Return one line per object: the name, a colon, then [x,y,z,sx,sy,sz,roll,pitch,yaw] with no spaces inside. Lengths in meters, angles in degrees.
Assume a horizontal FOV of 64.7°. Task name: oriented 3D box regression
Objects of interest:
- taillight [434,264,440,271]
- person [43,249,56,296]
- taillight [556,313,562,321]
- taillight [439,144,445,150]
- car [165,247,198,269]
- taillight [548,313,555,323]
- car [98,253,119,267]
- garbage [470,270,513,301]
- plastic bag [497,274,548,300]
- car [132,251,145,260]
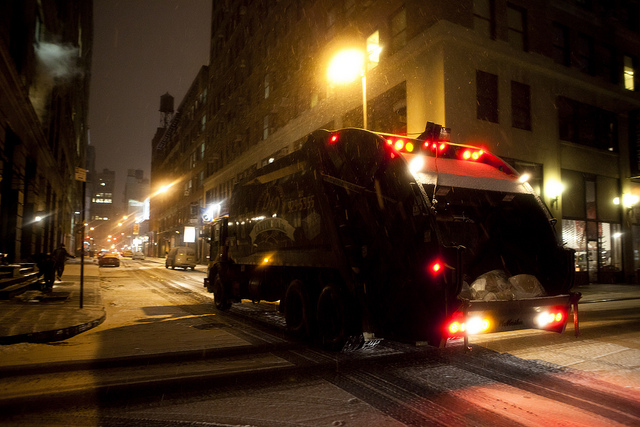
taillight: [2.546,1.182,10.977,0.111,0.142,0.019,3,8,22]
person: [-10.830,2.494,20.192,0.429,1.512,0.940,-4,8,-26]
taillight: [5.631,2.443,11.880,0.151,0.175,0.033,-2,8,-19]
taillight: [3.018,-1.650,12.494,0.191,0.108,0.049,-5,9,-36]
car: [-11.988,3.838,43.722,1.653,1.424,2.854,3,0,-32]
taillight: [5.430,2.459,11.833,0.177,0.217,0.040,-3,8,-21]
car: [-18.658,4.155,44.615,1.545,1.192,1.211,-3,8,-23]
garbage: [4.087,1.759,12.086,0.842,0.318,0.643,-12,-4,-45]
plastic bag: [4.866,1.804,12.144,0.880,0.377,0.663,0,-2,-30]
car: [-26.588,6.245,74.148,1.307,1.273,2.307,1,4,-26]
